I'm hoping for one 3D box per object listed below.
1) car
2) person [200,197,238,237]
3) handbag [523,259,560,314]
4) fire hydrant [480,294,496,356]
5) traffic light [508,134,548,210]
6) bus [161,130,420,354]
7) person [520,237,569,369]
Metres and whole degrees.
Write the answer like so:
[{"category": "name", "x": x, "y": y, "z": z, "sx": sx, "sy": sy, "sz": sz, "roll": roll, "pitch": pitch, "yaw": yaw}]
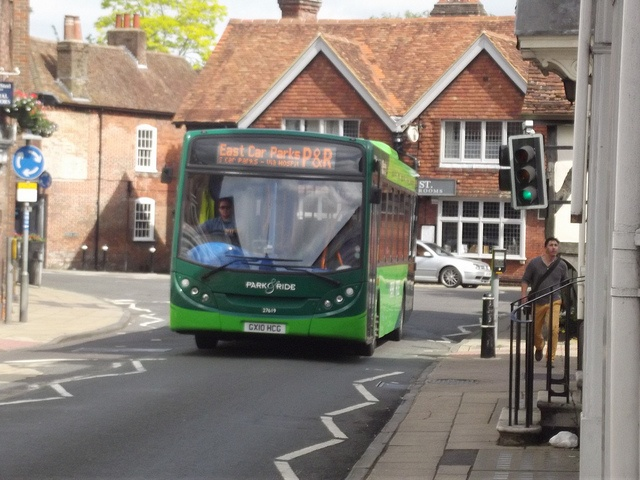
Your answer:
[{"category": "car", "x": 4.738, "y": 0.895, "z": 34.864, "sx": 2.514, "sy": 1.670, "sz": 0.920, "roll": 0, "pitch": -1, "yaw": 8}, {"category": "person", "x": -1.583, "y": -0.379, "z": 15.417, "sx": 0.719, "sy": 0.583, "sz": 0.428, "roll": 1, "pitch": 5, "yaw": -6}, {"category": "handbag", "x": 3.482, "y": 0.700, "z": 14.956, "sx": 0.883, "sy": 0.955, "sz": 0.494, "roll": 1, "pitch": -5, "yaw": 3}, {"category": "fire hydrant", "x": 3.047, "y": 1.578, "z": 17.431, "sx": 0.262, "sy": 1.165, "sz": 0.682, "roll": 0, "pitch": -1, "yaw": 10}, {"category": "traffic light", "x": 3.037, "y": -1.033, "z": 14.048, "sx": 0.544, "sy": 1.084, "sz": 0.909, "roll": 0, "pitch": -1, "yaw": 11}, {"category": "bus", "x": 0.077, "y": 0.100, "z": 16.316, "sx": 4.722, "sy": 3.869, "sz": 2.676, "roll": 1, "pitch": -1, "yaw": -43}, {"category": "person", "x": 3.956, "y": 1.058, "z": 16.320, "sx": 0.879, "sy": 2.204, "sz": 1.040, "roll": -4, "pitch": 6, "yaw": -36}]
